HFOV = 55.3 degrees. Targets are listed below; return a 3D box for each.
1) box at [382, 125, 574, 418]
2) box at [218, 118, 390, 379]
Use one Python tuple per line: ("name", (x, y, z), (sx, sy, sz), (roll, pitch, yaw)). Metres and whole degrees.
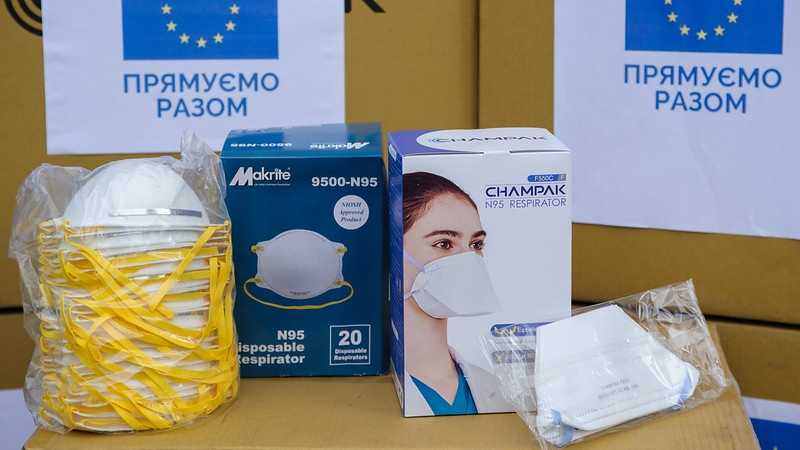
("box", (0.102, 0.055, 1.707), (0.400, 0.759, 0.521), (-2, 8, -4))
("box", (-0.170, 0.053, 1.503), (0.300, 0.426, 0.227), (-1, 17, -1))
